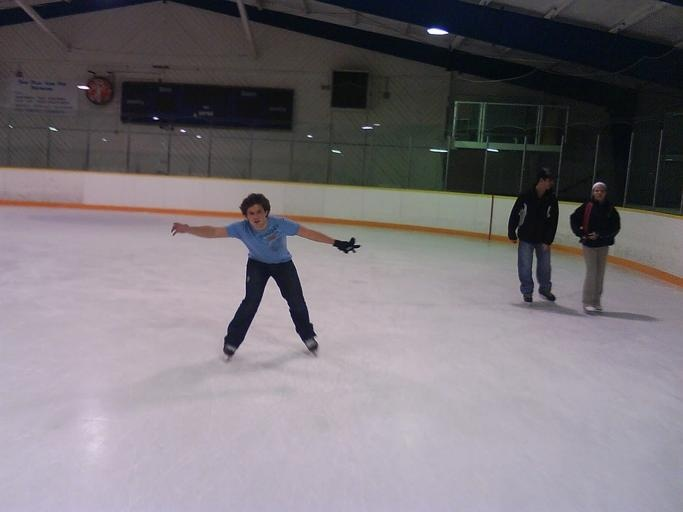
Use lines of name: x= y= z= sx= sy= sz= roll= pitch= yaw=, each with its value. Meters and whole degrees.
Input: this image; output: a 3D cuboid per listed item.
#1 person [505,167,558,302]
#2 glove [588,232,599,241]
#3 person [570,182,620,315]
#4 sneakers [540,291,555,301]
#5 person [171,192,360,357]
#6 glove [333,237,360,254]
person: x=2.415 y=-0.250 z=6.601 sx=0.646 sy=1.660 sz=0.482 roll=7 pitch=11 yaw=20
glove: x=2.912 y=-0.228 z=6.129 sx=0.044 sy=0.089 sz=0.134 roll=-5 pitch=21 yaw=5
person: x=2.995 y=-0.111 z=6.343 sx=0.519 sy=1.507 sz=0.453 roll=8 pitch=12 yaw=27
sneakers: x=2.597 y=0.507 z=6.732 sx=0.108 sy=0.084 sz=0.207 roll=-2 pitch=4 yaw=-27
person: x=-0.578 y=0.142 z=4.109 sx=1.448 sy=1.253 sz=0.377 roll=-4 pitch=15 yaw=-12
glove: x=0.050 y=-0.125 z=6.553 sx=0.342 sy=0.239 sz=0.121 roll=6 pitch=18 yaw=-16
